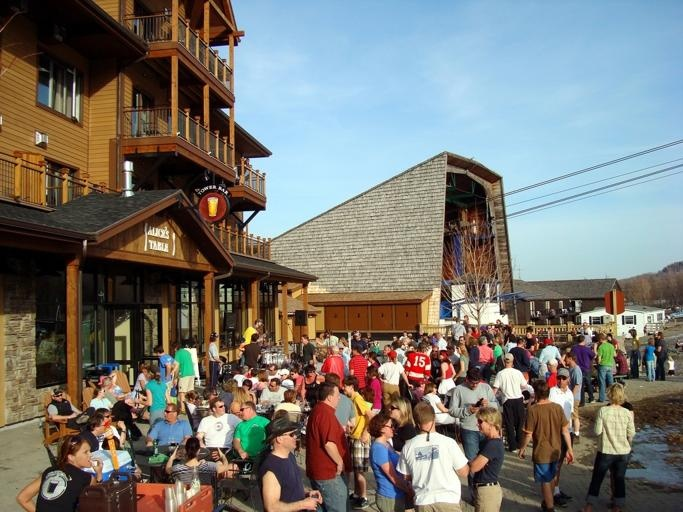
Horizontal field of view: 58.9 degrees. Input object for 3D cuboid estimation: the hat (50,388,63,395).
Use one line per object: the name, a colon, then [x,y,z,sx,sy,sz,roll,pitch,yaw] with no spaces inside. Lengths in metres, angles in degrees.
hat: [-6.211,2.969,13.259,0.173,0.156,0.226,3,-9,-26]

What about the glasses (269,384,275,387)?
glasses: [-1.566,2.919,13.637,0.111,0.035,0.109,5,-6,-33]

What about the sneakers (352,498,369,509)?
sneakers: [0.339,4.461,10.881,0.313,0.143,0.129,5,-14,-16]

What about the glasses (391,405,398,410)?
glasses: [0.899,2.606,10.444,0.088,0.031,0.090,11,-9,-20]

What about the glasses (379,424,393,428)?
glasses: [0.670,2.561,9.064,0.175,0.054,0.178,-4,-6,19]

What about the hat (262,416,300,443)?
hat: [-0.839,2.286,8.070,0.340,0.136,0.314,-25,5,26]

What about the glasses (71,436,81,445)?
glasses: [-3.852,2.676,8.789,0.109,0.068,0.114,1,-2,-11]

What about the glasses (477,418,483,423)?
glasses: [2.089,2.474,9.131,0.024,0.072,0.065,-4,-3,-43]
